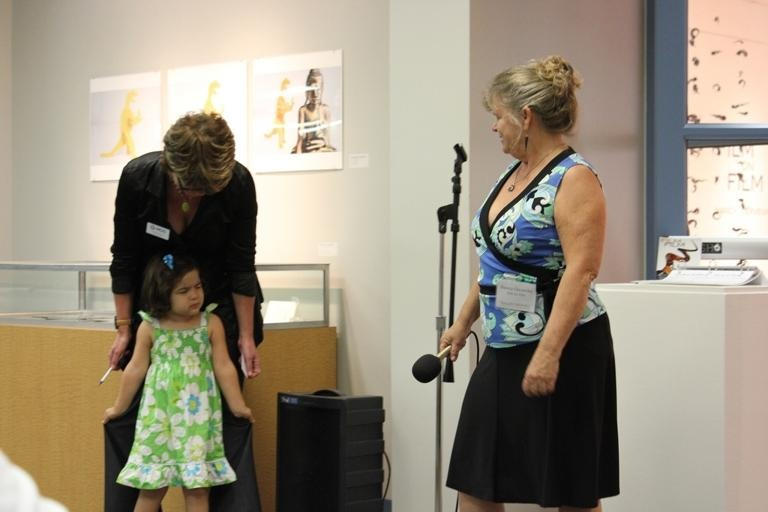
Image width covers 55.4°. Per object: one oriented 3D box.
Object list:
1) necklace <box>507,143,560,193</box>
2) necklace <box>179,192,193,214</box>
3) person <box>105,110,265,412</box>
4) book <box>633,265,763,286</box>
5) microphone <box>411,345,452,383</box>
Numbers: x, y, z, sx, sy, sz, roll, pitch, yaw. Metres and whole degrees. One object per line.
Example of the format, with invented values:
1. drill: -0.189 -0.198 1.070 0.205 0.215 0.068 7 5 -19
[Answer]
1. necklace: 0.681 -0.406 3.352 0.273 0.068 0.150 -45 -1 12
2. necklace: -0.993 -0.260 3.627 0.059 0.082 0.019 -2 24 -12
3. person: -0.977 0.072 3.709 0.772 1.538 0.543 0 1 -22
4. book: 1.757 0.099 3.984 0.520 0.096 0.443 1 1 29
5. microphone: 0.247 0.492 3.497 0.084 0.087 0.303 -16 8 36
